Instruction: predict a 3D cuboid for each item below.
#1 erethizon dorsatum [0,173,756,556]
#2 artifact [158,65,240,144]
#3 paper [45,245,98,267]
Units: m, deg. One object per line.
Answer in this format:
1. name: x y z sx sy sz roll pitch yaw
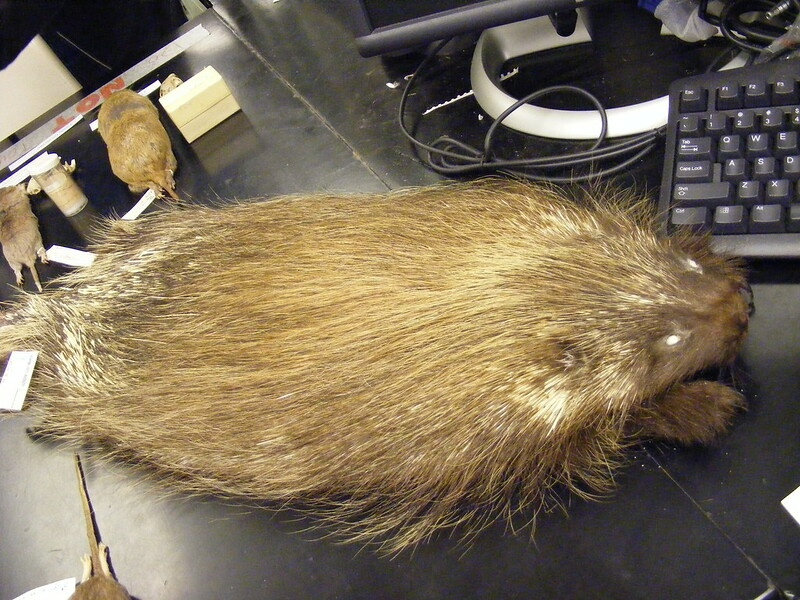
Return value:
1. erethizon dorsatum: -0.102 0.061 0.841 0.919 0.272 0.448 1 89 16
2. artifact: -0.325 -0.314 1.147 0.128 0.127 0.093 -33 13 -3
3. paper: -0.519 -0.065 1.040 0.078 0.003 0.033 17 73 18
